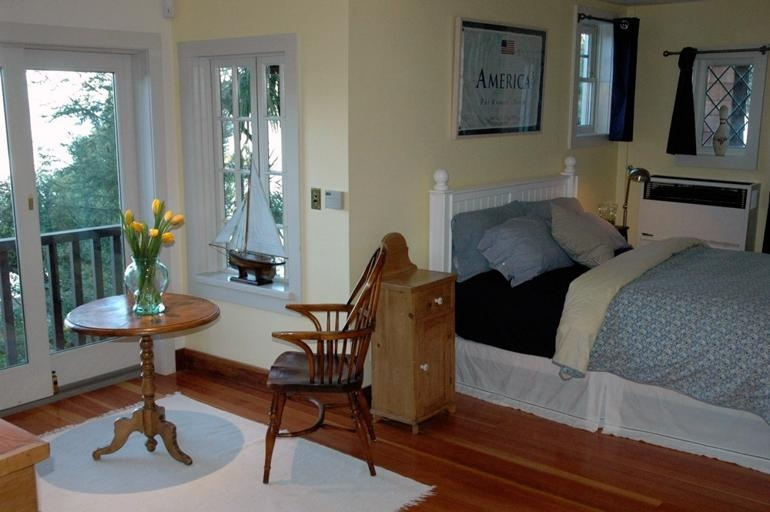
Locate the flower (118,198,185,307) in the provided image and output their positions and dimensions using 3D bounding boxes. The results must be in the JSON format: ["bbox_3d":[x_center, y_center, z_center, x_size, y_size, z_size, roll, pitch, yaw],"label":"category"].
[{"bbox_3d":[-1.462,0.001,3.739,0.381,0.677,0.322,-9,16,-24],"label":"flower"}]

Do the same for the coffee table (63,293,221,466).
[{"bbox_3d":[-1.538,0.850,3.831,0.953,0.828,0.944,-4,-4,38],"label":"coffee table"}]

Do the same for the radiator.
[{"bbox_3d":[3.290,-0.438,6.055,0.788,0.733,0.262,7,7,35],"label":"radiator"}]

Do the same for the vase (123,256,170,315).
[{"bbox_3d":[-1.581,0.174,3.806,0.311,0.368,0.326,3,5,32],"label":"vase"}]

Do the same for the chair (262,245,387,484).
[{"bbox_3d":[-0.424,0.655,3.848,0.880,1.358,0.853,-3,8,-22],"label":"chair"}]
